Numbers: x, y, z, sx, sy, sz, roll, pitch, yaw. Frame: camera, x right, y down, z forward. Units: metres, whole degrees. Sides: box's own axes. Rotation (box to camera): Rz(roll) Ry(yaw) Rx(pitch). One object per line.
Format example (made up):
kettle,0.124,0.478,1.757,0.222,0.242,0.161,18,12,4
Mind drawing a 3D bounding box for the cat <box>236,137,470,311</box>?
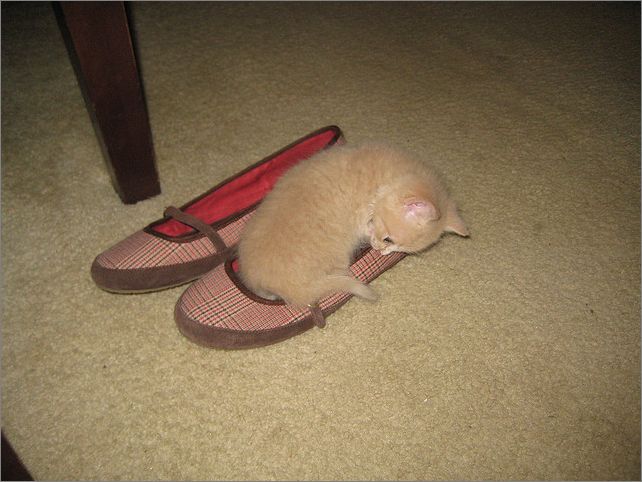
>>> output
cat,0.070,-0.028,1.509,0.508,0.383,0.229,-31,-13,-13
